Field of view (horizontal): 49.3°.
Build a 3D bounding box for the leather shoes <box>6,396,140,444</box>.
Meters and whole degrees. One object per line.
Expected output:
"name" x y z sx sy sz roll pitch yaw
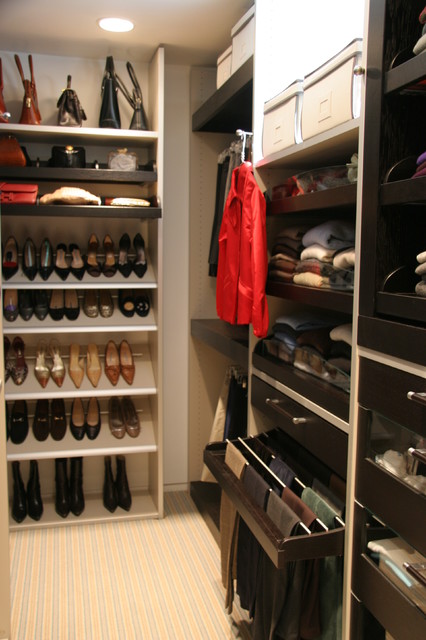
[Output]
"leather shoes" -0.819 0.578 2.644 0.500 0.280 0.122 -1 -11 -9
